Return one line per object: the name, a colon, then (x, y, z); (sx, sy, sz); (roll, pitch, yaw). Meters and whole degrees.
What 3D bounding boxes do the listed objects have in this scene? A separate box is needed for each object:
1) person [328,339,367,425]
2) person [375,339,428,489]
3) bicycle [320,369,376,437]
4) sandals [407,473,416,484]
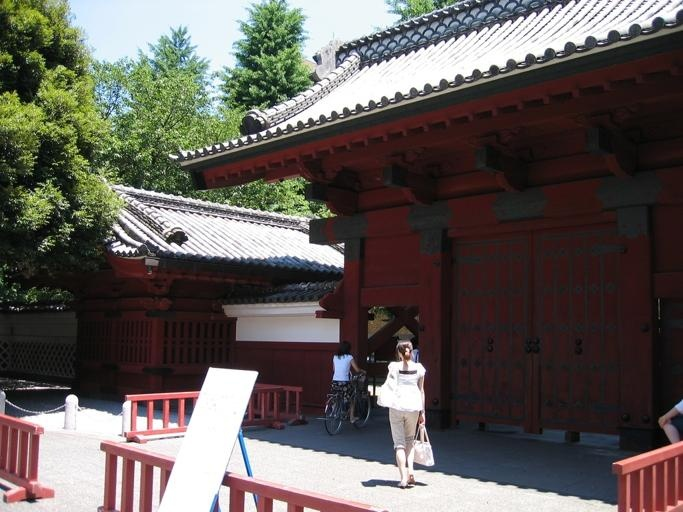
person: (0.103, 2.361, 11.742); (0.580, 1.609, 0.891); (-2, -14, 13)
person: (0.815, 2.009, 8.292); (0.525, 1.818, 0.598); (-6, -15, 28)
bicycle: (0.136, 2.665, 11.731); (0.693, 1.018, 1.596); (-10, -12, 29)
sandals: (0.884, 2.812, 8.180); (0.066, 0.154, 0.206); (1, -3, 3)
